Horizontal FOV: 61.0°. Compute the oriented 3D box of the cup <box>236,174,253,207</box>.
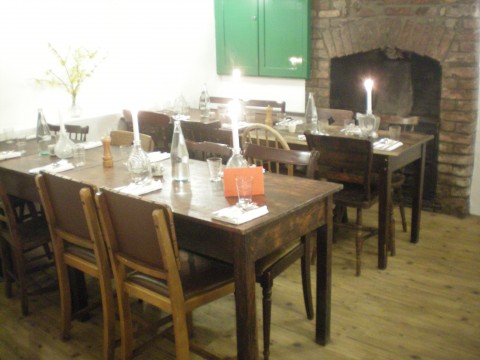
[{"bbox_3d":[0.024,0.052,2.138,0.085,0.143,0.236,-3,15,1],"label":"cup"}]

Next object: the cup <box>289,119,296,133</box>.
[{"bbox_3d":[0.496,-0.519,3.910,0.089,0.119,0.115,8,20,19],"label":"cup"}]

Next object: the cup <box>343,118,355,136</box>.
[{"bbox_3d":[0.976,-0.479,3.642,0.102,0.160,0.166,9,24,29],"label":"cup"}]

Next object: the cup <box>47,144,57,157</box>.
[{"bbox_3d":[-1.476,-0.236,3.198,0.072,0.088,0.092,-2,20,-17],"label":"cup"}]

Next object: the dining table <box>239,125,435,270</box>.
[{"bbox_3d":[0.844,-0.062,3.526,1.689,1.295,1.115,13,24,39],"label":"dining table"}]

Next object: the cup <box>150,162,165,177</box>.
[{"bbox_3d":[-0.549,-0.070,2.712,0.067,0.072,0.110,-4,6,-28],"label":"cup"}]
